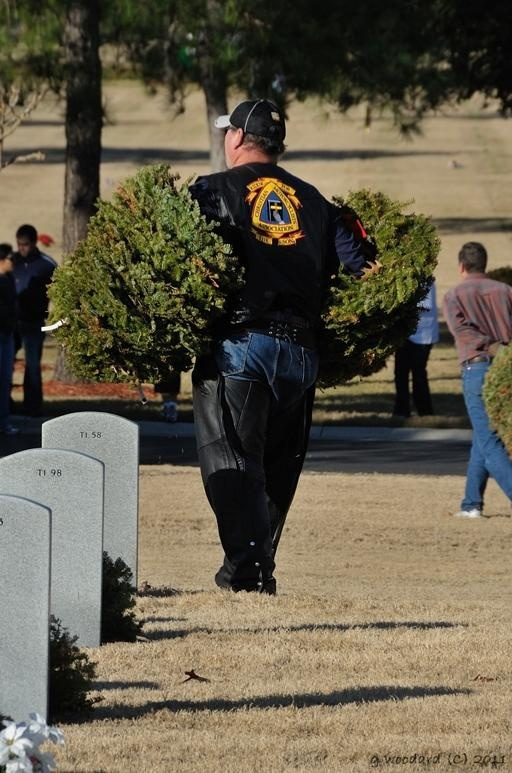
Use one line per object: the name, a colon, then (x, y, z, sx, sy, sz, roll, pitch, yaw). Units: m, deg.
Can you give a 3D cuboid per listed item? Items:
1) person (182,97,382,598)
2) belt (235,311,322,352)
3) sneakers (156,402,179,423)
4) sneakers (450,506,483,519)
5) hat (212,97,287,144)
person: (0.042, -0.188, 10.728, 0.904, 2.522, 0.385, -3, 7, -28)
belt: (0.094, -0.309, 10.585, 0.270, 0.111, 0.208, 9, 0, -7)
sneakers: (-0.781, 0.215, 18.678, 0.158, 0.173, 0.224, 0, -10, 0)
sneakers: (1.354, 0.782, 13.589, 0.167, 0.080, 0.072, 4, 4, 31)
hat: (-0.024, -1.351, 10.763, 0.291, 0.179, 0.207, 32, 31, 22)
